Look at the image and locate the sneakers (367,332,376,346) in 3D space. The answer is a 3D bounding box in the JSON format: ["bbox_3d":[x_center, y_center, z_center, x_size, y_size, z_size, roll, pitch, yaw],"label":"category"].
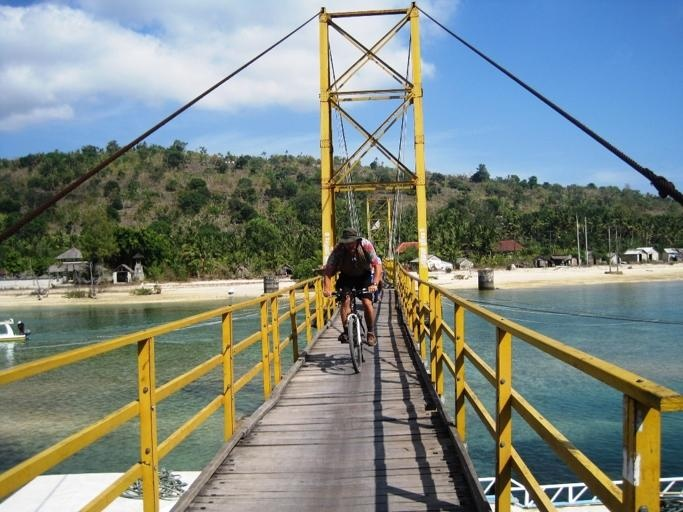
[{"bbox_3d":[0.448,1.210,7.921,0.108,0.179,0.165,0,2,2],"label":"sneakers"}]

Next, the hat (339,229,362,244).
[{"bbox_3d":[0.149,-0.287,7.529,0.290,0.169,0.346,-5,1,-11],"label":"hat"}]
